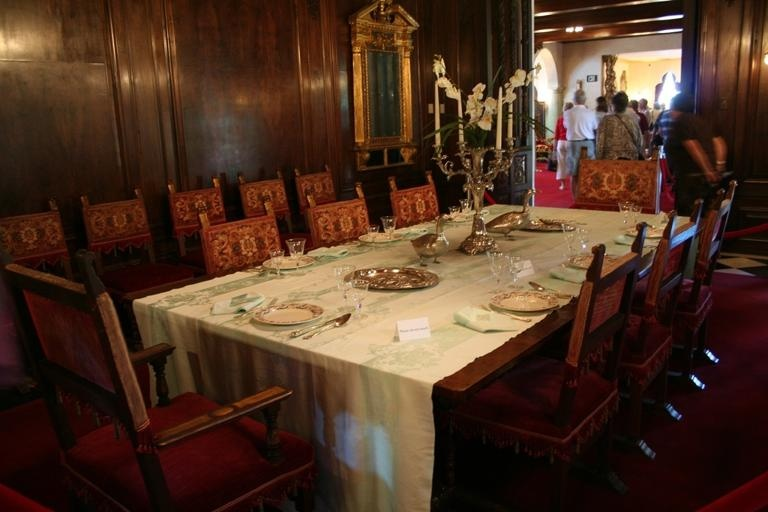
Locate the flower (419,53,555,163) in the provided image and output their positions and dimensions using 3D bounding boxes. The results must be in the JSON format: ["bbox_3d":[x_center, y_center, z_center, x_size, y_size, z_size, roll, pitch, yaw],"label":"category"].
[{"bbox_3d":[0.616,-0.863,3.187,0.576,0.441,0.564,-10,9,-24],"label":"flower"}]

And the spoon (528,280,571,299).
[{"bbox_3d":[0.803,0.152,2.629,0.054,0.043,0.317,-19,21,-21],"label":"spoon"}]

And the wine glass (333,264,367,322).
[{"bbox_3d":[-0.212,0.174,2.497,0.207,0.275,0.216,-4,9,-7],"label":"wine glass"}]

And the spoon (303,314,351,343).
[{"bbox_3d":[-0.243,0.306,2.305,0.070,0.040,0.265,20,23,32],"label":"spoon"}]

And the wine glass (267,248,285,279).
[{"bbox_3d":[-0.594,0.050,2.938,0.134,0.200,0.124,0,10,-13],"label":"wine glass"}]

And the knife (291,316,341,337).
[{"bbox_3d":[-0.307,0.313,2.304,0.066,0.031,0.225,18,32,35],"label":"knife"}]

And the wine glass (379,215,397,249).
[{"bbox_3d":[0.058,-0.189,3.644,0.157,0.244,0.146,-5,12,-18],"label":"wine glass"}]

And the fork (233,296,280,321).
[{"bbox_3d":[-0.597,0.252,2.503,0.066,0.028,0.245,22,31,22],"label":"fork"}]
